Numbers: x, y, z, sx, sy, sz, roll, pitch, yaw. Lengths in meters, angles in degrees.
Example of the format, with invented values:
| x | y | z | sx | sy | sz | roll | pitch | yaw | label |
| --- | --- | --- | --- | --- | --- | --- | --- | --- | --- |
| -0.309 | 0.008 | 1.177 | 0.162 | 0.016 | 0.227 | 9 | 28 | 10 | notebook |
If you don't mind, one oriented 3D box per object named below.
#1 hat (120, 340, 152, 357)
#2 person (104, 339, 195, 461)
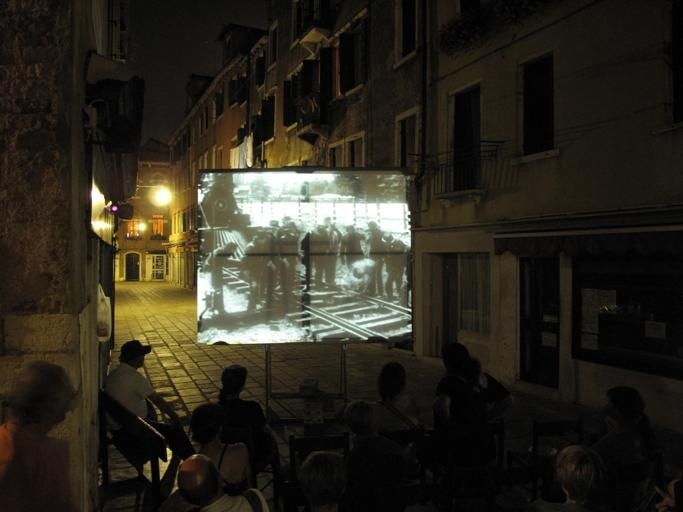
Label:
| x | y | z | sx | sy | sz | roll | pitch | yaw | label |
| --- | --- | --- | --- | --- | --- | --- | --- | --- | --- |
| -2.531 | 1.126 | 7.835 | 0.249 | 0.122 | 0.316 | -1 | -5 | -3 | hat |
| -2.450 | 1.812 | 7.932 | 0.552 | 1.588 | 0.864 | 13 | 20 | 40 | person |
